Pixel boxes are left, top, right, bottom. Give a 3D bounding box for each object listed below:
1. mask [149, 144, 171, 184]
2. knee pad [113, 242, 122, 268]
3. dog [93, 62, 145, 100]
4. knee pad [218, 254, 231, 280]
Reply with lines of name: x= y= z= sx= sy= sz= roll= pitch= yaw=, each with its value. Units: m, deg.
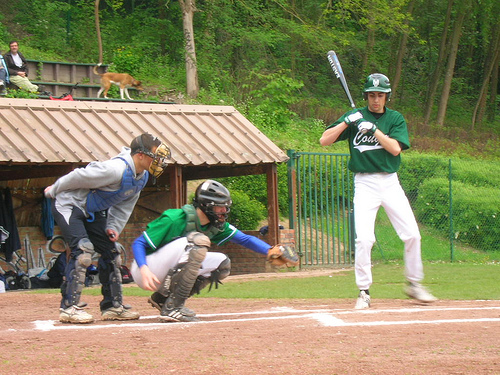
mask: x=-1.768 y=-0.487 z=20.598 sx=0.322 sy=0.582 sz=0.455 roll=37 pitch=-2 yaw=-1
knee pad: x=-2.625 y=1.343 z=20.819 sx=0.167 sy=0.507 sz=0.339 roll=2 pitch=10 yaw=-6
dog: x=-4.402 y=-3.439 z=34.707 sx=1.498 sy=1.162 sz=2.075 roll=2 pitch=9 yaw=-2
knee pad: x=-0.504 y=1.630 z=20.907 sx=0.210 sy=0.520 sz=0.245 roll=5 pitch=10 yaw=11
